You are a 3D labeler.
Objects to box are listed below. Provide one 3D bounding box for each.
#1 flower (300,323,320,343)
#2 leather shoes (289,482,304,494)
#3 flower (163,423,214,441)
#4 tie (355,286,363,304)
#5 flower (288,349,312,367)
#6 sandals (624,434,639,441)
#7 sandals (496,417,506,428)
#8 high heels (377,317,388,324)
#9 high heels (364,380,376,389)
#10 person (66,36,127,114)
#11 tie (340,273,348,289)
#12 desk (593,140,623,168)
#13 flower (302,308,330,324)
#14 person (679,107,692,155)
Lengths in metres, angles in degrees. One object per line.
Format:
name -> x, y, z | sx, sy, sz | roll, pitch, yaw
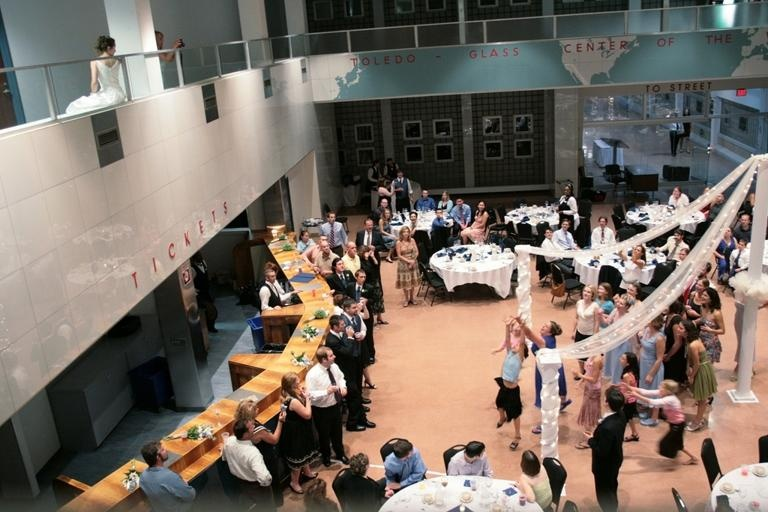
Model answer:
flower -> -1.344, 1.382, 9.622 | 0.287, 0.283, 0.284 | -11, 16, 5
leather shoes -> -1.338, 3.519, 8.117 | 0.275, 0.108, 0.094 | 13, 14, 42
flower -> -2.753, 2.526, 7.566 | 0.643, 0.172, 0.289 | -8, 17, -21
tie -> -0.474, 0.718, 10.195 | 0.100, 0.422, 0.114 | -10, -4, 10
flower -> -1.400, 1.716, 8.918 | 0.285, 0.152, 0.224 | 13, 14, 26
sandals -> 3.946, 2.892, 8.474 | 0.189, 0.073, 0.099 | 2, 11, 6
sandals -> 1.963, 2.796, 8.892 | 0.094, 0.235, 0.077 | 11, 45, 1
high heels -> -0.057, 1.491, 12.343 | 0.103, 0.132, 0.330 | -7, 6, -34
high heels -> -0.270, 2.457, 10.175 | 0.271, 0.131, 0.090 | 2, 9, 15
person -> -3.947, -2.544, 7.595 | 0.996, 0.958, 0.690 | -12, 14, -42
tie -> -0.817, 0.499, 11.068 | 0.209, 0.273, 0.081 | 1, -2, -12
desk -> 8.008, -3.672, 18.944 | 0.936, 0.772, 0.949 | 9, 36, 24
flower -> -1.262, 1.134, 10.184 | 0.396, 0.167, 0.262 | -16, 38, -33
person -> 10.267, -4.325, 18.089 | 0.306, 1.458, 0.421 | 7, 19, 28
